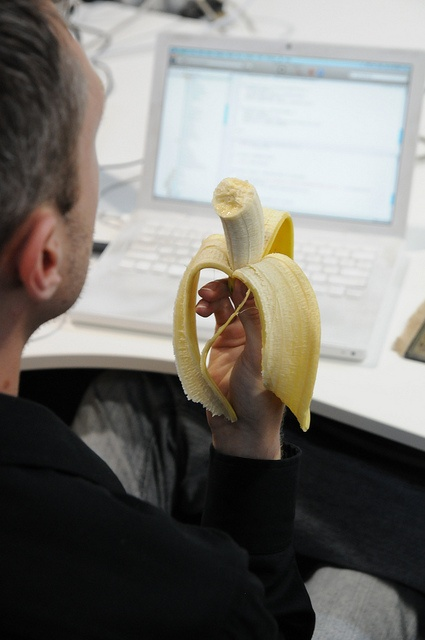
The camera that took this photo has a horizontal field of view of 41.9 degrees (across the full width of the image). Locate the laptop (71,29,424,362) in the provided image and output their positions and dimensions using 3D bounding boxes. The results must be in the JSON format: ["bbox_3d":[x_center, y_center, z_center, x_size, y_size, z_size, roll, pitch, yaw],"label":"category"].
[{"bbox_3d":[0.087,-0.163,0.909,0.556,0.334,0.517,7,46,10],"label":"laptop"}]

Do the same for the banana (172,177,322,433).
[{"bbox_3d":[0.046,-0.014,0.547,0.134,0.146,0.230,-25,116,-43],"label":"banana"}]
